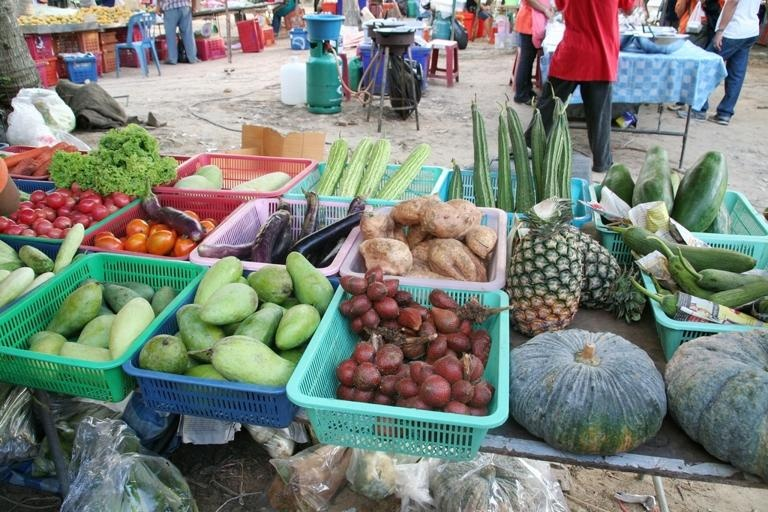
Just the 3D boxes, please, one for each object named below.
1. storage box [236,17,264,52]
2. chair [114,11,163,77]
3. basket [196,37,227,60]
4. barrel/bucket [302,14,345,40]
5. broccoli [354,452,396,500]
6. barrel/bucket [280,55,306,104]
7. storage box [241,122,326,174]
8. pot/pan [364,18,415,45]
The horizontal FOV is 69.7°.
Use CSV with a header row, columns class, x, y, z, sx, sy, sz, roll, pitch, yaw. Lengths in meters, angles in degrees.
class,x,y,z,sx,sy,sz,roll,pitch,yaw
storage box,-3.568,-5.880,14.907,0.527,0.764,0.776,-8,21,7
chair,-5.445,-4.676,12.187,0.952,1.182,1.800,-13,30,-18
basket,-4.366,-5.154,13.849,0.386,0.383,0.778,-2,26,-1
barrel/bucket,-0.932,-3.523,8.632,0.555,0.381,0.407,-6,29,-7
broccoli,-0.068,1.279,3.246,0.243,0.119,0.318,4,26,3
barrel/bucket,-1.574,-3.005,9.523,0.477,0.836,0.580,-7,29,-9
storage box,-0.928,-0.833,4.932,0.666,0.377,0.474,10,57,-15
pot/pan,0.122,-3.325,8.370,0.573,0.333,1.027,-6,29,-8
